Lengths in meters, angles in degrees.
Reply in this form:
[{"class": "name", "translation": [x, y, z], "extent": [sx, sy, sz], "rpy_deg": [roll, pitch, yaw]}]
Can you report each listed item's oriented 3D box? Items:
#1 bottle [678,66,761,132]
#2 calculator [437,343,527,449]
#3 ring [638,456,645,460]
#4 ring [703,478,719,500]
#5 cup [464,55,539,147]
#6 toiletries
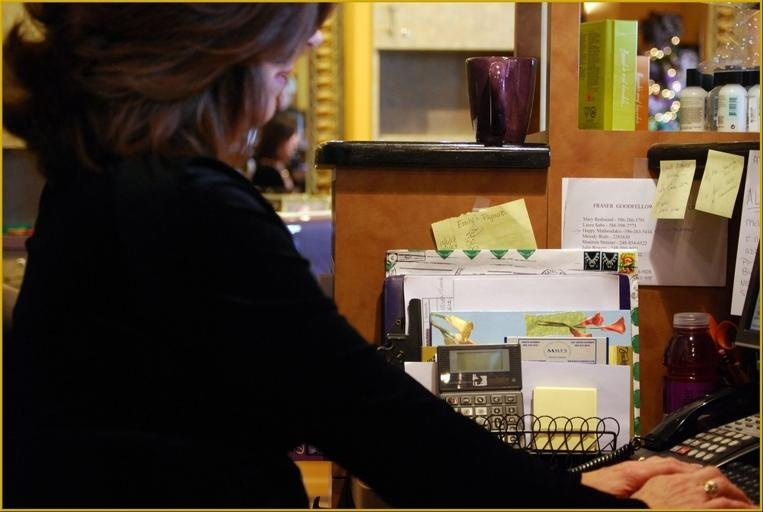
[{"class": "bottle", "translation": [0.707, -0.323, 1.607], "extent": [0.094, 0.149, 0.137], "rpy_deg": [-2, 12, -15]}, {"class": "calculator", "translation": [0.197, 0.243, 1.425], "extent": [0.153, 0.195, 0.050], "rpy_deg": [-4, -3, -3]}, {"class": "ring", "translation": [0.484, 0.372, 1.403], "extent": [0.010, 0.002, 0.010], "rpy_deg": [0, 7, 0]}, {"class": "ring", "translation": [0.557, 0.389, 1.280], "extent": [0.022, 0.023, 0.007], "rpy_deg": [-6, -24, 4]}, {"class": "cup", "translation": [0.241, -0.329, 1.633], "extent": [0.144, 0.176, 0.180], "rpy_deg": [0, 1, 2]}, {"class": "toiletries", "translation": [0.717, -0.327, 1.594], "extent": [0.158, 0.149, 0.057], "rpy_deg": [2, -1, 15]}]
